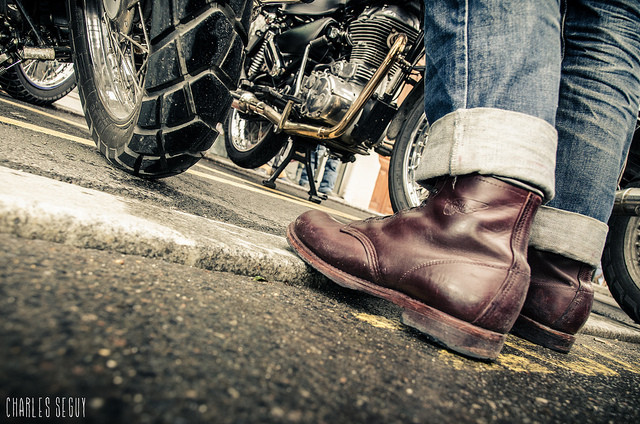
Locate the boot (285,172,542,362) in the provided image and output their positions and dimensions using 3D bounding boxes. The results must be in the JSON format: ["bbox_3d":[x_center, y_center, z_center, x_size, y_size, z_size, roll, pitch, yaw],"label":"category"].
[{"bbox_3d":[0.341,0.097,1.682,0.871,0.563,0.344,25,6,43],"label":"boot"}]
